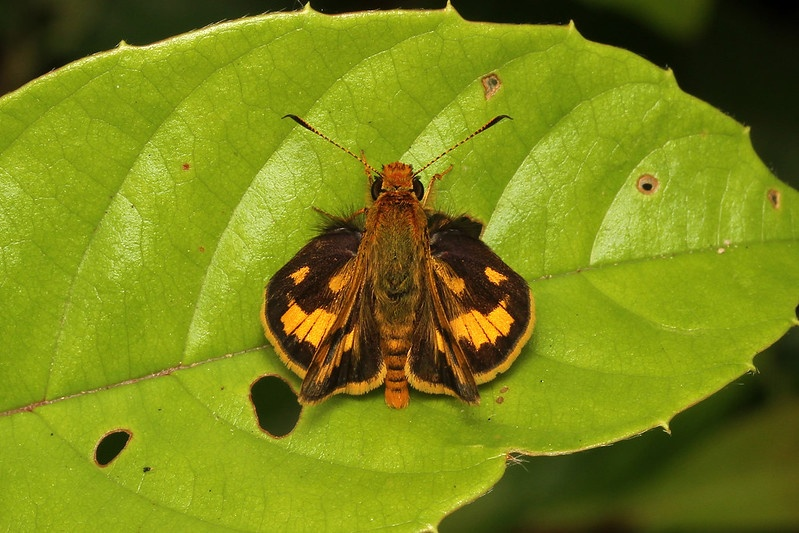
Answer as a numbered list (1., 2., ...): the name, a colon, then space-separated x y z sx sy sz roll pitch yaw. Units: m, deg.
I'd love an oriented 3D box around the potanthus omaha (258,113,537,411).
1. potanthus omaha: -0.056 -0.052 5.960 1.851 1.820 1.235 -9 33 1
